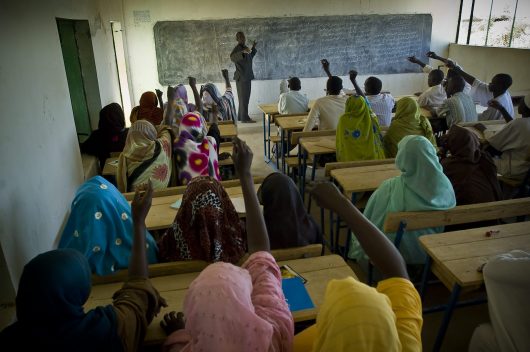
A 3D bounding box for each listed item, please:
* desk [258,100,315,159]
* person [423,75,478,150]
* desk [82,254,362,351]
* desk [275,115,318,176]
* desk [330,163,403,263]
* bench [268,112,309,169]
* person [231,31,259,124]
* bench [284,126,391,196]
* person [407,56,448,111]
[{"bbox_3d":[0.371,-0.706,5.347,0.885,0.813,1.255,3,23,2],"label":"desk"},{"bbox_3d":[2.649,-0.891,4.833,0.412,0.737,0.380,4,26,34],"label":"person"},{"bbox_3d":[-0.115,0.835,2.038,1.128,0.459,0.404,-5,16,-13],"label":"desk"},{"bbox_3d":[0.410,-0.403,4.426,0.640,0.632,0.489,-12,35,-16],"label":"desk"},{"bbox_3d":[0.945,0.314,3.472,0.847,0.846,0.656,-4,-6,-10],"label":"desk"},{"bbox_3d":[0.335,-0.482,4.738,0.686,0.702,0.530,-9,50,-10],"label":"bench"},{"bbox_3d":[-0.401,-1.991,7.184,0.498,1.797,0.493,0,17,7],"label":"person"},{"bbox_3d":[0.750,-0.283,3.946,1.232,0.810,0.690,-6,41,-9],"label":"bench"},{"bbox_3d":[2.688,-1.410,5.852,0.564,1.050,0.576,-40,41,-25],"label":"person"}]
